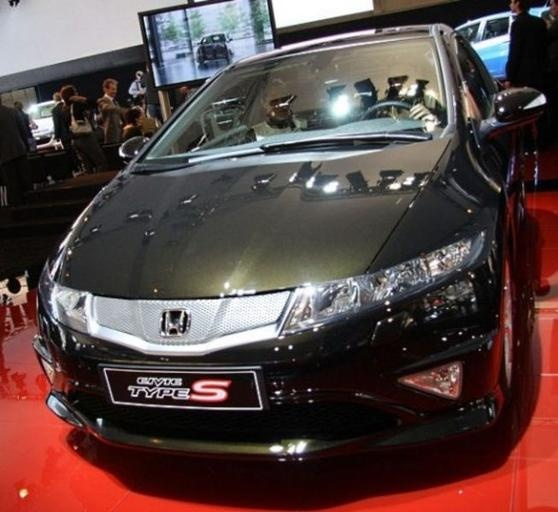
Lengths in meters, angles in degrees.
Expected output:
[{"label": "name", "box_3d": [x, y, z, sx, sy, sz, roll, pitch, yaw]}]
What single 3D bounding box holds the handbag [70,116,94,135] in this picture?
[{"label": "handbag", "box_3d": [-3.163, -2.094, 7.267, 0.413, 0.301, 0.129, -5, 22, -3]}]
